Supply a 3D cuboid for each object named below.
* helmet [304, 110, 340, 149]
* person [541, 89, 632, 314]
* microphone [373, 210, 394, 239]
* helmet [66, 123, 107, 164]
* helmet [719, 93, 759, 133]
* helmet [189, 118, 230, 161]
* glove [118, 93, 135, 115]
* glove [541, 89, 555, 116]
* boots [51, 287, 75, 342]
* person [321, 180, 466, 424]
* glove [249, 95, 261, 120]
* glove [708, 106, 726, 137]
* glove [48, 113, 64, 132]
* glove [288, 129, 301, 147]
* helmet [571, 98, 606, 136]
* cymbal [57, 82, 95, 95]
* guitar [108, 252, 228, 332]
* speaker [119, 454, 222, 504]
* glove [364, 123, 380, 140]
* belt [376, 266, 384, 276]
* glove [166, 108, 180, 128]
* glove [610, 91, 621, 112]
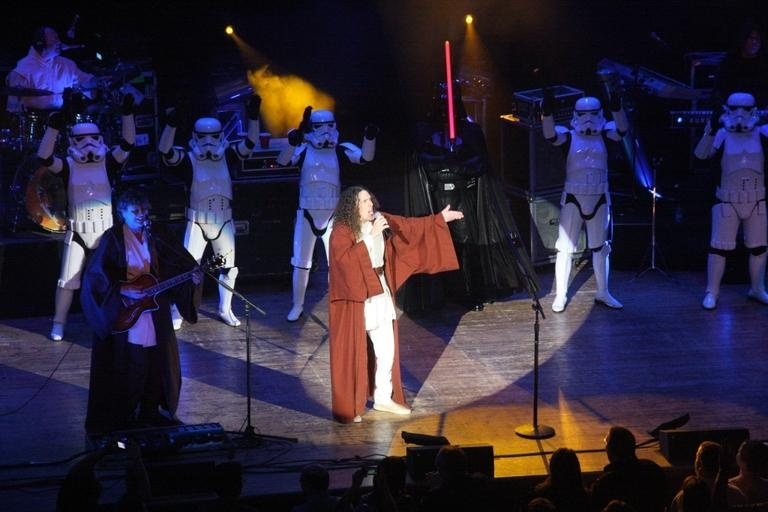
[{"bbox_3d":[-0.792,-1.606,9.840,0.398,0.455,0.495,-2,13,-10],"label":"helmet"},{"bbox_3d":[2.619,-0.703,10.097,1.102,2.789,0.776,0,0,-2],"label":"person"},{"bbox_3d":[0.006,-0.271,7.502,0.110,0.372,0.115,-14,-8,-3],"label":"microphone"},{"bbox_3d":[-3.522,-1.341,9.230,0.423,0.390,0.503,-4,13,-23],"label":"helmet"},{"bbox_3d":[4.427,-1.800,9.816,0.464,0.461,0.519,1,6,13],"label":"helmet"},{"bbox_3d":[-2.171,-1.466,9.654,0.466,0.549,0.295,0,0,-15],"label":"helmet"},{"bbox_3d":[-2.992,-1.776,9.084,0.133,0.268,0.232,0,0,-13],"label":"glove"},{"bbox_3d":[2.084,-1.933,9.762,0.139,0.327,0.248,0,0,12],"label":"glove"},{"bbox_3d":[-3.949,0.701,9.555,0.221,0.749,0.306,4,5,-4],"label":"boots"},{"bbox_3d":[0.023,0.469,7.605,1.092,2.285,0.476,0,0,-26],"label":"person"},{"bbox_3d":[-1.524,-1.797,9.380,0.235,0.302,0.094,11,12,26],"label":"glove"},{"bbox_3d":[4.174,-1.678,9.713,0.247,0.313,0.129,1,-3,1],"label":"glove"},{"bbox_3d":[-3.771,-1.562,8.944,0.167,0.221,0.217,0,0,-40],"label":"glove"},{"bbox_3d":[-1.082,-1.438,9.495,0.200,0.175,0.186,-2,16,-11],"label":"glove"},{"bbox_3d":[2.648,-1.839,10.121,0.435,0.454,0.483,-1,10,5],"label":"helmet"},{"bbox_3d":[-4.154,-2.315,10.663,0.515,0.143,0.502,3,9,16],"label":"cymbal"},{"bbox_3d":[-2.056,0.384,7.326,0.920,0.665,0.396,0,0,1],"label":"guitar"},{"bbox_3d":[-1.675,1.771,6.161,0.885,0.418,0.543,0,-4,-19],"label":"speaker"},{"bbox_3d":[-0.151,-1.549,9.724,0.162,0.236,0.328,0,0,-2],"label":"glove"},{"bbox_3d":[-0.022,0.149,7.537,0.075,0.061,0.060,0,11,18],"label":"belt"},{"bbox_3d":[-2.505,-1.670,9.304,0.223,0.227,0.217,-1,10,-3],"label":"glove"},{"bbox_3d":[2.935,-1.948,9.808,0.116,0.294,0.331,0,0,12],"label":"glove"}]
